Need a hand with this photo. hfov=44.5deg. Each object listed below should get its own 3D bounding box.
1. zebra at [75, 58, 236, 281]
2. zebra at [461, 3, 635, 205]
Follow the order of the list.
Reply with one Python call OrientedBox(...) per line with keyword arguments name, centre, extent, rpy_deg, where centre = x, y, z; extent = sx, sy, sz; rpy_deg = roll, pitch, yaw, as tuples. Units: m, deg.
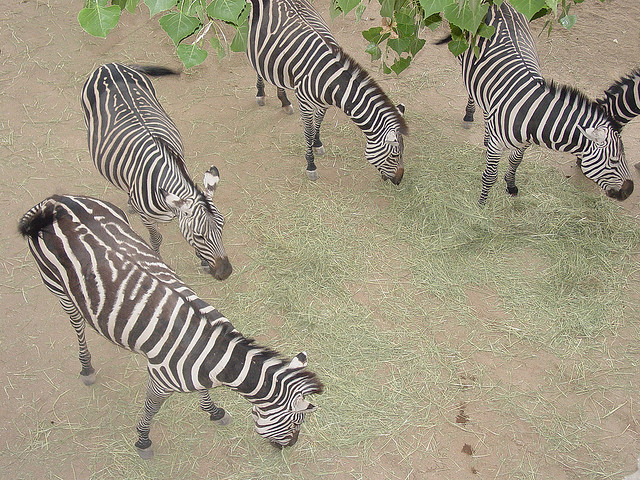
OrientedBox(name="zebra", centre=(-1.717, -0.654, 8.080), extent=(0.809, 1.063, 2.258), rpy_deg=(-24, 85, -20))
OrientedBox(name="zebra", centre=(2.500, -1.408, 8.685), extent=(0.555, 1.368, 2.260), rpy_deg=(-21, 75, 0))
